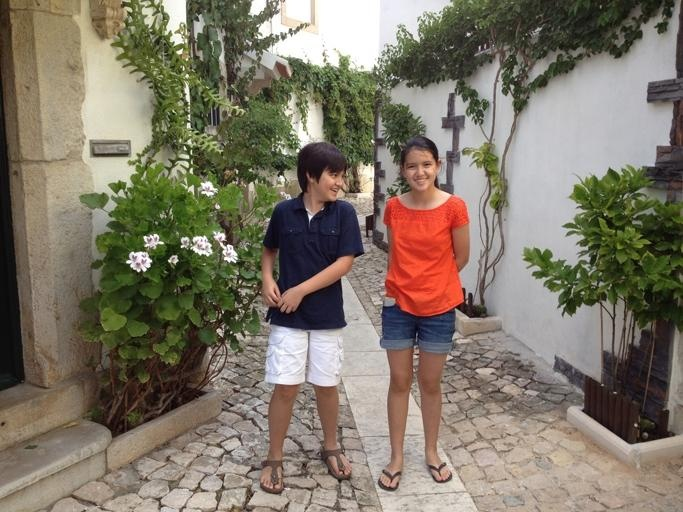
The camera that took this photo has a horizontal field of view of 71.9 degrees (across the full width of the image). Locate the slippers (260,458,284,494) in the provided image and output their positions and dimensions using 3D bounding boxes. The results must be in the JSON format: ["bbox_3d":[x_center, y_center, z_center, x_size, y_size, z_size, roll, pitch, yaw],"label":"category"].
[{"bbox_3d":[-0.430,1.361,2.885,0.085,0.099,0.237,1,-3,-7],"label":"slippers"}]

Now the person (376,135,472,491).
[{"bbox_3d":[0.511,0.358,2.917,0.521,2.148,0.476,1,11,5],"label":"person"}]

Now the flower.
[{"bbox_3d":[-1.150,0.110,3.312,1.104,1.491,1.077,0,11,-2],"label":"flower"}]

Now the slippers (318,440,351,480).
[{"bbox_3d":[-0.037,1.345,3.087,0.110,0.085,0.243,-4,15,-20],"label":"slippers"}]

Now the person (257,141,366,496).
[{"bbox_3d":[-0.206,0.384,2.891,0.637,2.110,0.382,-2,11,-11],"label":"person"}]
